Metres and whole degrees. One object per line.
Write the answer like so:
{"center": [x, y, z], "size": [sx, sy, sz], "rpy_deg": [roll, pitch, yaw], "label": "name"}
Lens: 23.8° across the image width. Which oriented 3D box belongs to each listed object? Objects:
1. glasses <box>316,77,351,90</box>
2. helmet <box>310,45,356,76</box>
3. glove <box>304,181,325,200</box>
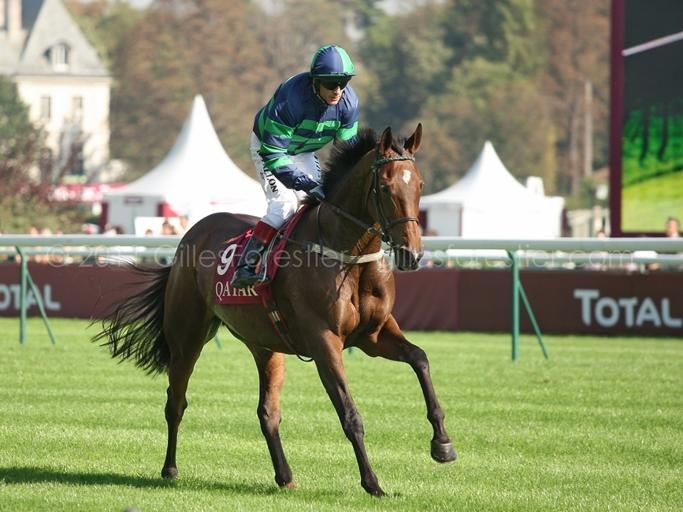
{"center": [-0.082, -1.641, 15.443], "size": [0.323, 0.124, 0.177], "rpy_deg": [0, 1, -15], "label": "glasses"}
{"center": [-0.096, -1.876, 15.561], "size": [0.476, 0.310, 0.592], "rpy_deg": [-5, 12, -15], "label": "helmet"}
{"center": [-0.258, -0.631, 15.495], "size": [0.125, 0.087, 0.165], "rpy_deg": [-17, 40, -16], "label": "glove"}
